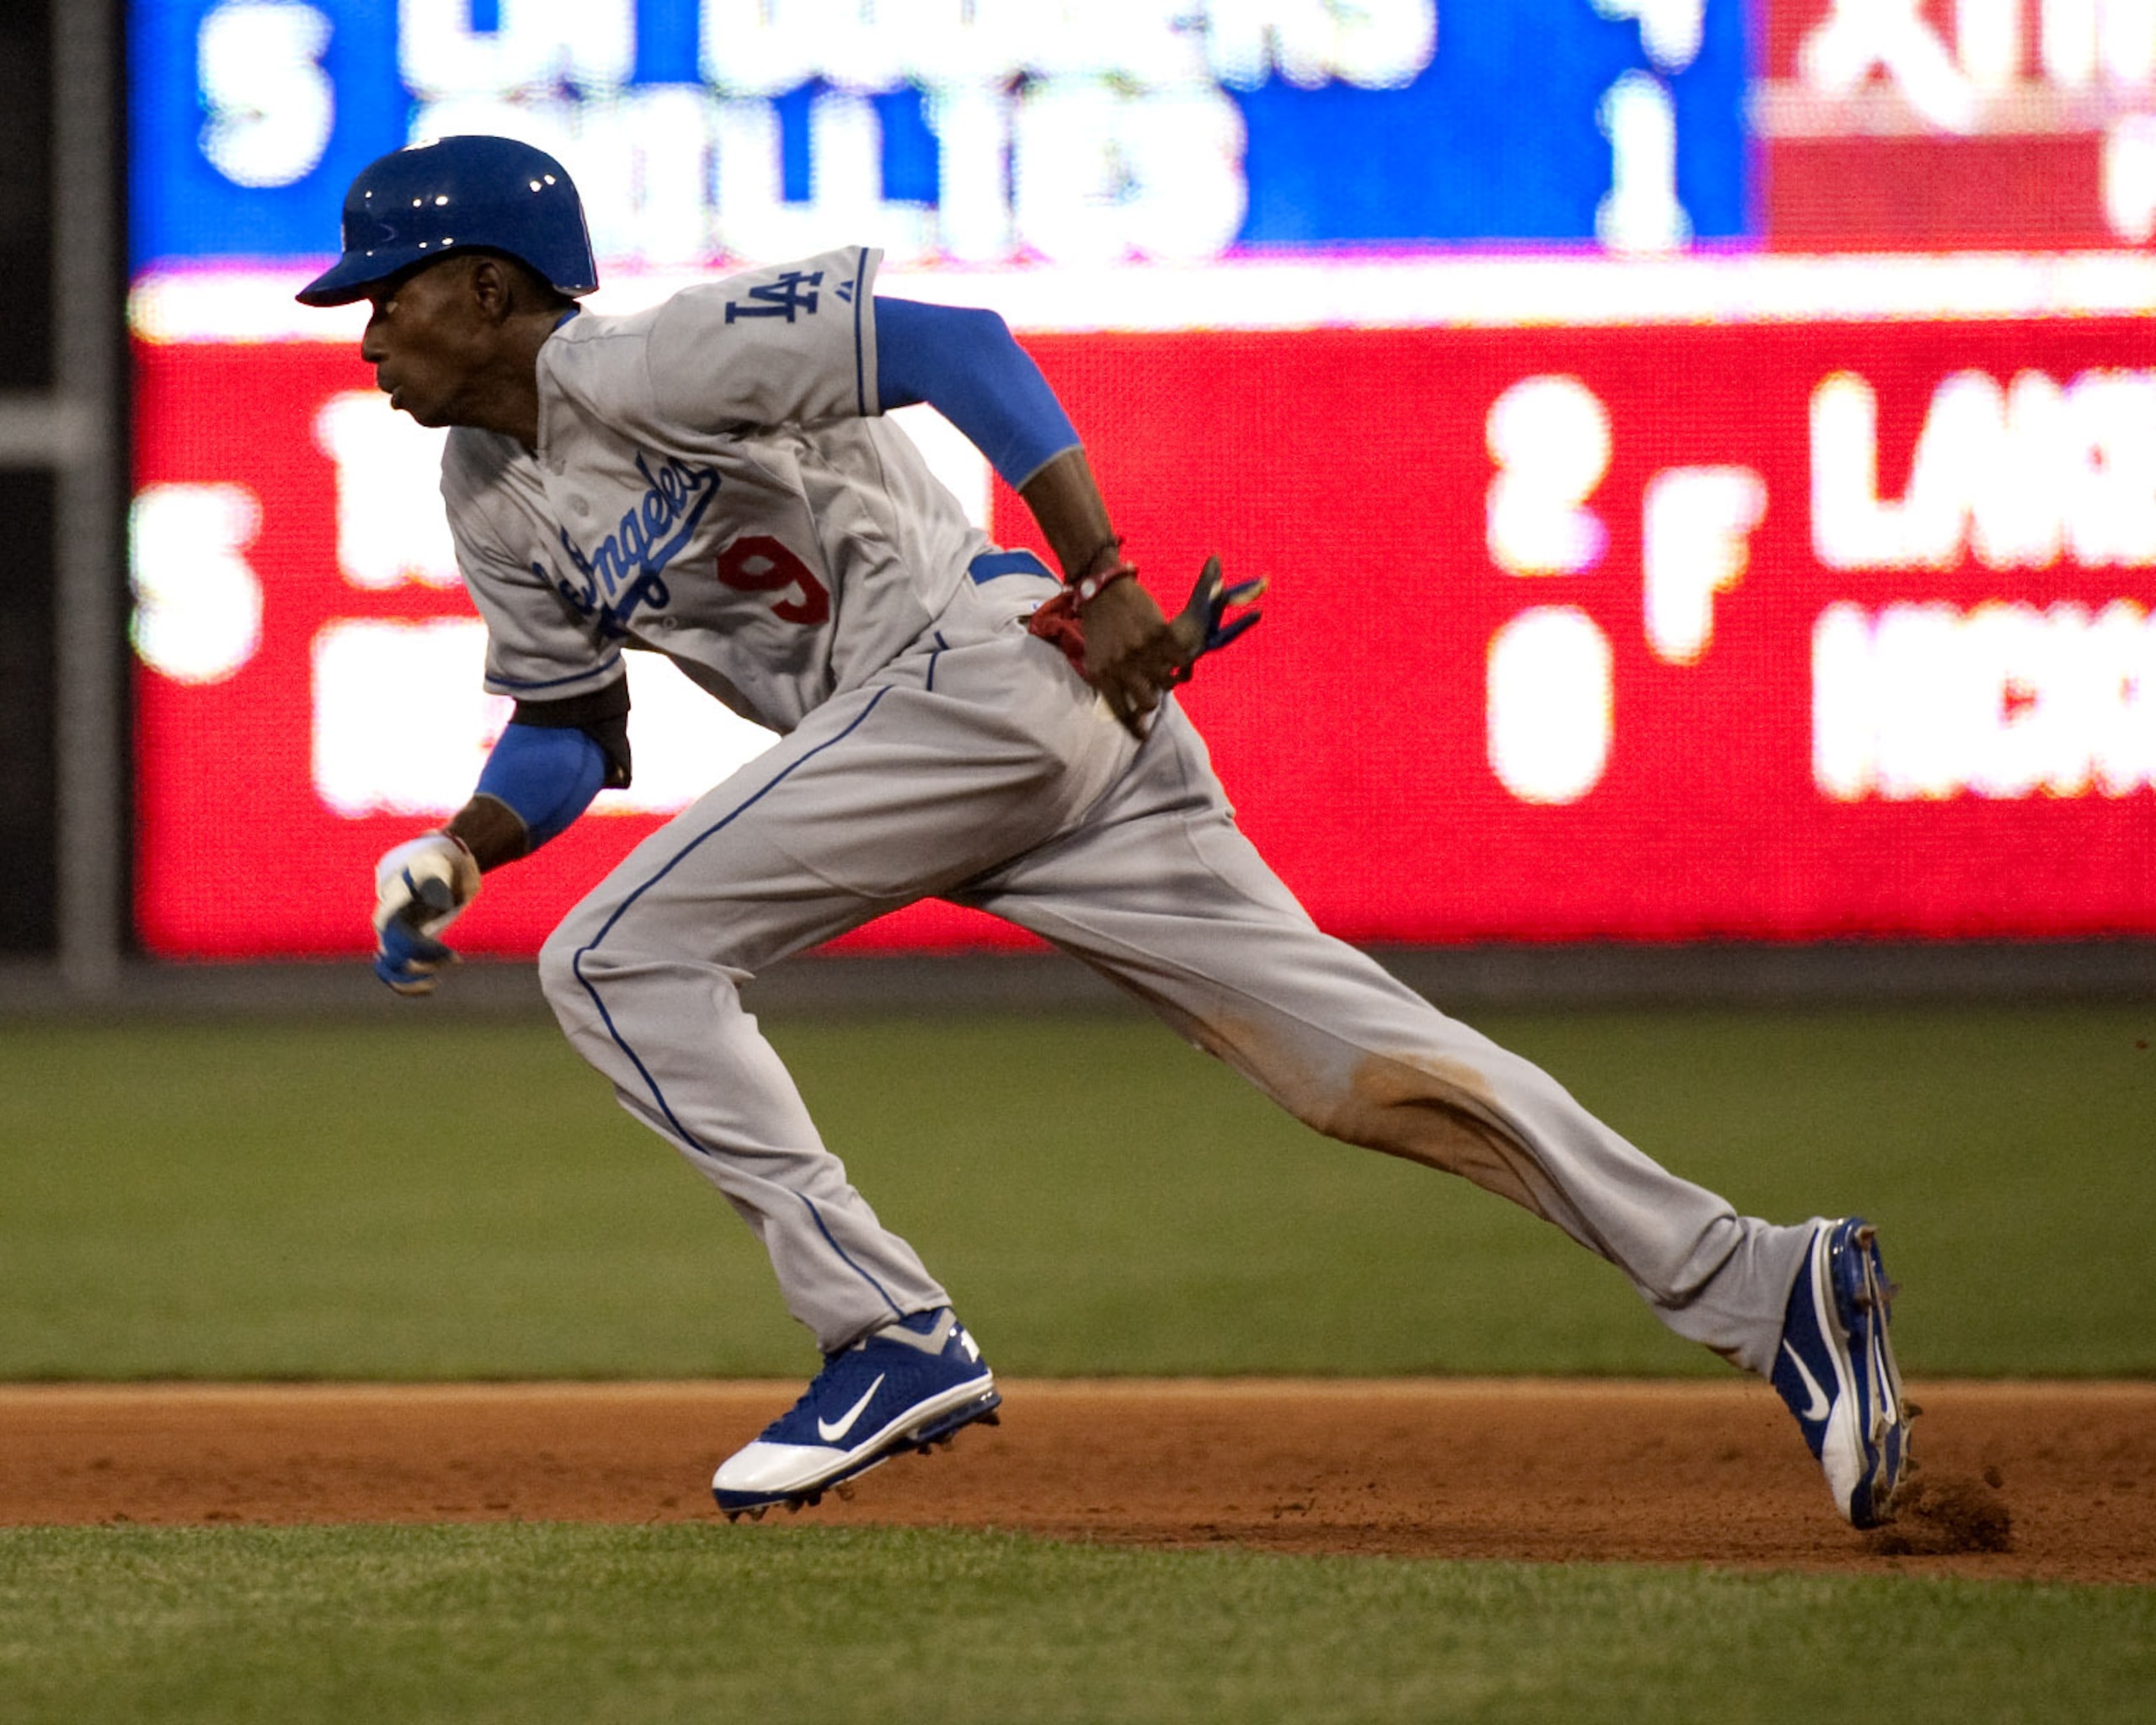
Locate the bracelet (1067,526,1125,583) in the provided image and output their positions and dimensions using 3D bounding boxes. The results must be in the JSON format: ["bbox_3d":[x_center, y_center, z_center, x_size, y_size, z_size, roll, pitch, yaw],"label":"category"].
[{"bbox_3d":[0.023,-0.445,5.725,0.084,0.077,0.053,-2,10,-7],"label":"bracelet"}]

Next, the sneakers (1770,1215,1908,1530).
[{"bbox_3d":[1.106,0.729,5.757,0.235,0.436,0.168,-11,4,8],"label":"sneakers"}]

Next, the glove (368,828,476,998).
[{"bbox_3d":[-0.984,0.064,5.957,0.190,0.204,0.121,-12,-13,43],"label":"glove"}]

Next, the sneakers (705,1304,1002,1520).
[{"bbox_3d":[-0.355,0.784,5.780,0.500,0.205,0.172,-22,12,-33],"label":"sneakers"}]

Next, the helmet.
[{"bbox_3d":[-0.946,-0.962,5.918,0.503,0.196,0.300,-4,3,-4],"label":"helmet"}]
